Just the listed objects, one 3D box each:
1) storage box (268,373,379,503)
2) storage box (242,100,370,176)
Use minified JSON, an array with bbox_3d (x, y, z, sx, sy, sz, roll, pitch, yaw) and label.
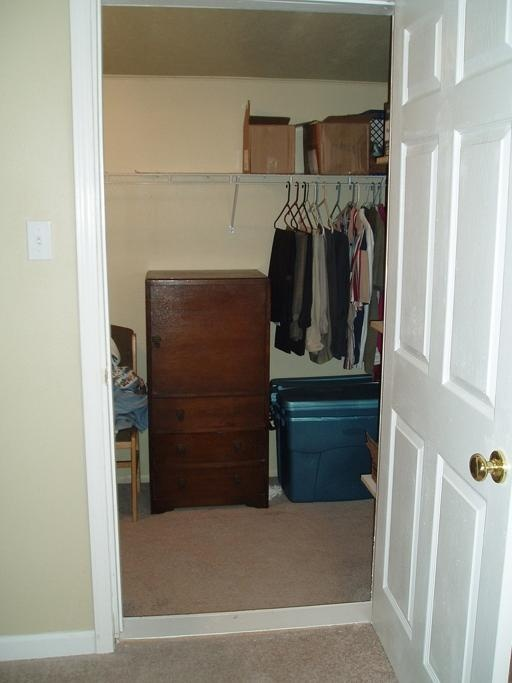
[{"bbox_3d":[0.377,0.524,3.133,0.575,0.621,0.515,-1,10,-7],"label":"storage box"},{"bbox_3d":[0.262,-1.073,3.031,0.663,0.391,0.306,-1,9,-1],"label":"storage box"}]
